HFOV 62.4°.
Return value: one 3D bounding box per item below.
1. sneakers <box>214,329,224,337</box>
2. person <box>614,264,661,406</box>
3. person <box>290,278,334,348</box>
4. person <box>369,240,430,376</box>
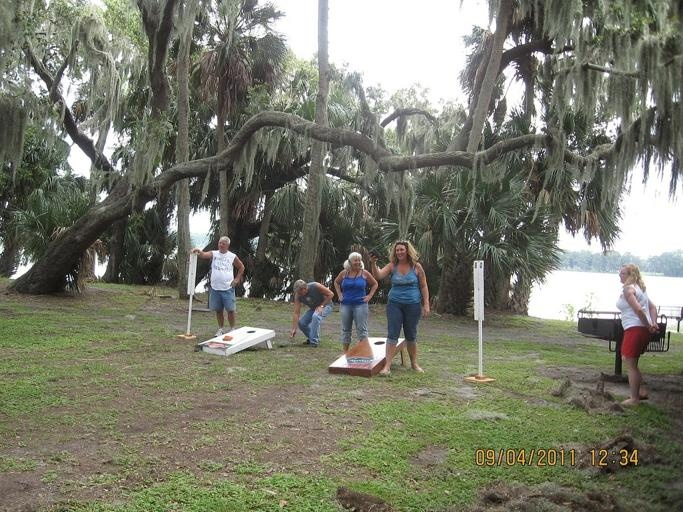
[{"bbox_3d":[-2.451,1.542,11.304,0.116,0.155,0.370,1,-9,8],"label":"sneakers"},{"bbox_3d":[4.040,1.051,7.725,0.492,1.895,0.502,2,-2,18],"label":"person"},{"bbox_3d":[-0.600,1.148,11.505,0.784,1.313,1.367,2,-2,-4],"label":"person"},{"bbox_3d":[1.015,0.850,9.211,0.755,2.157,0.551,2,-2,6],"label":"person"}]
